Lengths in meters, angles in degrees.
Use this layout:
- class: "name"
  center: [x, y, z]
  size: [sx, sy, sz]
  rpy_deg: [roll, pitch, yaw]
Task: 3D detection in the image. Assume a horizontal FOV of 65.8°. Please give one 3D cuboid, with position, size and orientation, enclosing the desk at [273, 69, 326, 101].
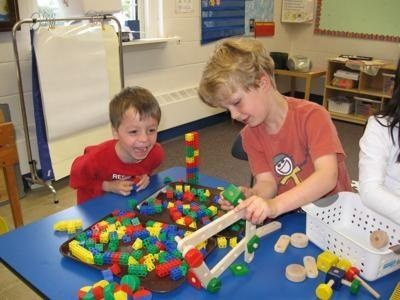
- class: "desk"
  center: [1.356, -0.868, 4.204]
  size: [0.481, 0.390, 0.480]
  rpy_deg: [-3, 21, -27]

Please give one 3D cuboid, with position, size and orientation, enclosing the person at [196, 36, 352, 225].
- class: "person"
  center: [0.287, -0.073, 1.214]
  size: [0.467, 0.736, 0.461]
  rpy_deg: [-24, 5, -26]

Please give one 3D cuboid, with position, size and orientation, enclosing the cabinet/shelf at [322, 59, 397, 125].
- class: "cabinet/shelf"
  center: [1.815, -0.691, 3.510]
  size: [0.855, 0.780, 0.339]
  rpy_deg: [17, 30, 33]
